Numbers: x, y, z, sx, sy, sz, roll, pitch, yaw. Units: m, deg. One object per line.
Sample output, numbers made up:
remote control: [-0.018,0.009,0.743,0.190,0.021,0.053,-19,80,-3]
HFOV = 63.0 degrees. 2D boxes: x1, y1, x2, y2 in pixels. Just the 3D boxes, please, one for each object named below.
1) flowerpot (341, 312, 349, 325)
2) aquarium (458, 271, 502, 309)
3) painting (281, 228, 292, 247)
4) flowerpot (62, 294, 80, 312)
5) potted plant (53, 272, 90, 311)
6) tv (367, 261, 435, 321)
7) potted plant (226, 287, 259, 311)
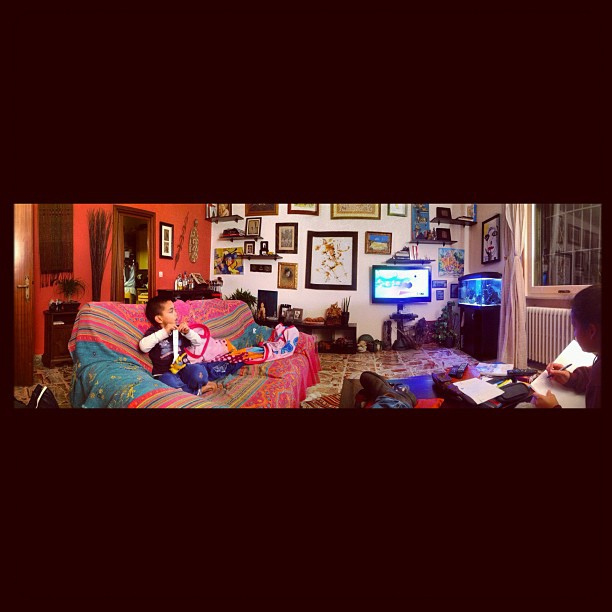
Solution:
flowerpot: [0.271,0.085,3.409,0.053,0.075,0.064,-1,-3,6]
aquarium: [1.211,-0.103,3.484,0.162,0.278,0.341,-1,2,-12]
painting: [-0.123,-0.444,3.266,0.067,0.153,0.148,0,-4,-3]
flowerpot: [-1.542,-0.018,3.270,0.092,0.153,0.093,1,1,38]
potted plant: [-1.550,-0.093,3.332,0.180,0.256,0.218,2,1,-15]
tv: [0.685,-0.099,3.619,0.336,0.371,0.114,0,1,3]
potted plant: [-0.413,-0.059,3.361,0.128,0.106,0.146,6,4,17]
